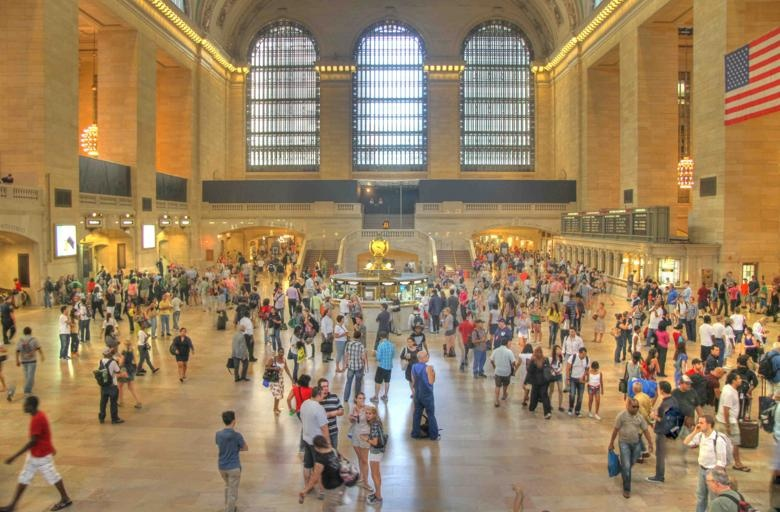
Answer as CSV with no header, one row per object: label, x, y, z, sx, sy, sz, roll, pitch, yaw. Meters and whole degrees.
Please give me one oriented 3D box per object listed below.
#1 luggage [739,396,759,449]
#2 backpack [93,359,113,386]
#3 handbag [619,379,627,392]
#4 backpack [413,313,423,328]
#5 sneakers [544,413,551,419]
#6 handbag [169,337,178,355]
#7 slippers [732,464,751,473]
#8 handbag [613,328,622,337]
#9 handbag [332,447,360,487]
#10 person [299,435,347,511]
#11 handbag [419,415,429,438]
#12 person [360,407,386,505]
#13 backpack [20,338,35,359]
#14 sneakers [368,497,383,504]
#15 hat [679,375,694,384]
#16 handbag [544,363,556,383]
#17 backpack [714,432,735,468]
luggage,10.899,5.159,21.505,0.545,1.215,0.407,-2,10,18
backpack,-9.124,3.733,22.400,0.532,0.799,0.143,2,-2,-3
handbag,7.405,4.143,22.615,0.346,0.384,0.357,0,5,12
backpack,0.952,2.239,24.192,0.216,0.316,0.314,-4,-2,5
sneakers,5.091,5.160,22.827,0.141,0.125,0.286,-3,-16,-2
handbag,-7.680,3.202,25.022,0.185,0.628,0.775,3,-3,-17
slippers,10.271,6.171,20.591,0.490,0.154,0.194,-2,1,16
handbag,8.372,2.825,26.097,0.291,0.295,0.287,1,8,-1
handbag,-1.228,5.864,19.528,0.594,0.509,1.260,16,30,-41
person,-1.881,5.824,19.326,0.804,1.945,1.214,4,-3,-38
handbag,1.072,5.310,22.073,0.387,0.580,0.189,4,7,15
person,-0.445,5.574,20.204,0.622,2.700,1.275,2,-2,0
backpack,-12.255,3.150,23.855,0.477,0.524,0.351,4,-3,-28
sneakers,-0.416,6.837,19.836,0.370,0.177,0.163,5,-1,7
hat,8.757,3.670,20.842,0.373,0.204,0.281,-1,1,38
handbag,5.189,3.784,22.847,0.454,0.581,0.188,4,-3,-30
backpack,9.131,5.236,19.192,0.241,0.879,0.727,0,-3,44
